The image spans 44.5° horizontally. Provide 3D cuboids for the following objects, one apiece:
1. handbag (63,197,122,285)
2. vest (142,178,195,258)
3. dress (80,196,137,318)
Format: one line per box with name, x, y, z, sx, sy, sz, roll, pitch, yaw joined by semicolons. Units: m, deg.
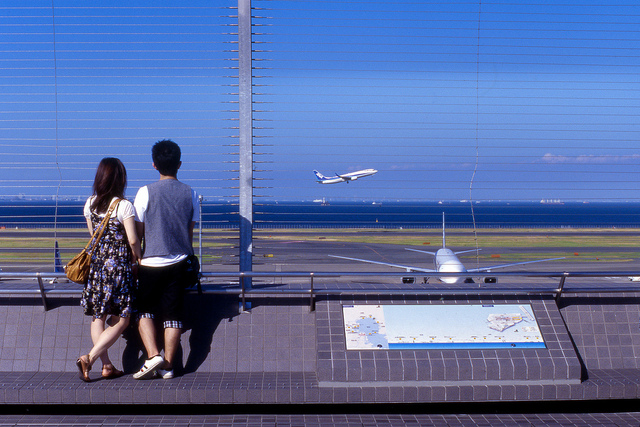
handbag;-2.469;0.305;8.380;0.345;0.898;0.678;11;-23;-38
vest;-1.655;0.055;8.479;0.551;0.852;0.301;-1;-19;-10
dress;-2.256;0.522;8.377;0.575;1.178;0.540;0;-19;-14
